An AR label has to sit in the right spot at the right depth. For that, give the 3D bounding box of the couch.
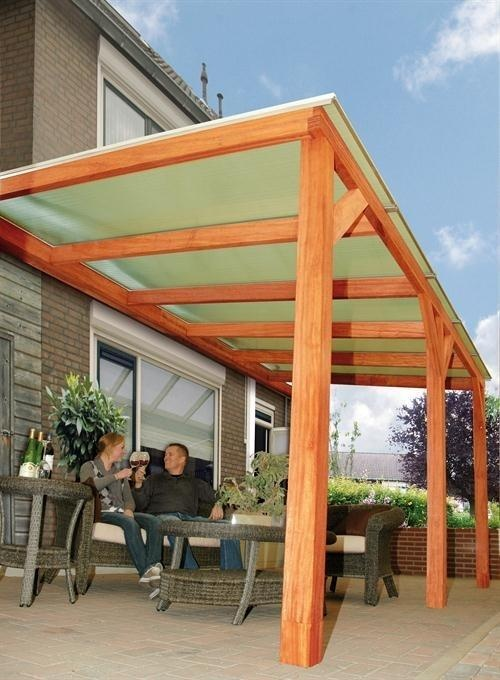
[{"bbox_3d":[-1.122,1.532,5.648,1.116,1.129,1.143,24,-40,-37],"label":"couch"}]

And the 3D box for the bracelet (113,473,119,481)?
[{"bbox_3d":[-1.141,1.157,5.698,0.052,0.045,0.044,-2,-5,11],"label":"bracelet"}]

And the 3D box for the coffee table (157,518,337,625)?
[{"bbox_3d":[-0.227,1.549,4.642,0.976,0.552,1.006,20,-19,-42],"label":"coffee table"}]

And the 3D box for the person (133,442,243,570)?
[{"bbox_3d":[-0.607,1.679,6.686,1.083,1.405,0.905,-6,-21,14],"label":"person"}]
